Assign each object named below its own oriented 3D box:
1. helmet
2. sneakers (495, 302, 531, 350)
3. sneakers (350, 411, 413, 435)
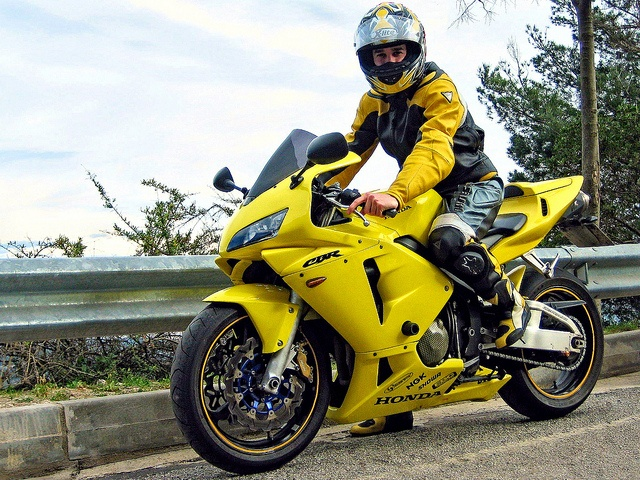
[{"bbox_3d":[0.490,-1.372,4.008,0.495,0.622,0.308,-3,-3,8],"label":"helmet"},{"bbox_3d":[1.381,0.625,4.140,0.146,0.162,0.408,-13,23,49],"label":"sneakers"},{"bbox_3d":[0.481,1.366,4.238,0.533,0.203,0.171,2,-1,-11],"label":"sneakers"}]
